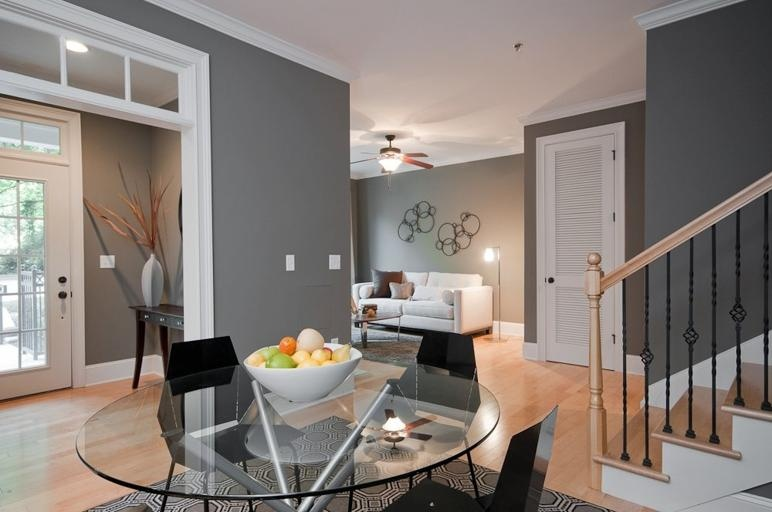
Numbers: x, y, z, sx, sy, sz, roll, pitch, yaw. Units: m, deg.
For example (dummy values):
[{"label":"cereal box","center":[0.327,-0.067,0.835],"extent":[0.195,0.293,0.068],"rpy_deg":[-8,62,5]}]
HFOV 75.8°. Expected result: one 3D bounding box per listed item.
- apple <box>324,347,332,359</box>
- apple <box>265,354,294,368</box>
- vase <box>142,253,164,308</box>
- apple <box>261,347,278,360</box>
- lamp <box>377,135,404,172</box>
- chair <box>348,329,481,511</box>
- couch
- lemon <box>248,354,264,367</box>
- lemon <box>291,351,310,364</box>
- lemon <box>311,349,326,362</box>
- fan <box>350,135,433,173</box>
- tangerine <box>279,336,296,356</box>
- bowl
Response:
[{"label":"apple","center":[-0.326,0.547,2.770],"extent":[0.049,0.057,0.049],"rpy_deg":[-2,-1,36]},{"label":"apple","center":[-0.573,0.571,2.673],"extent":[0.106,0.092,0.090],"rpy_deg":[4,13,-4]},{"label":"vase","center":[-2.588,0.260,5.498],"extent":[0.232,0.567,0.361],"rpy_deg":[-7,16,-25]},{"label":"apple","center":[-0.654,0.543,2.793],"extent":[0.067,0.068,0.068],"rpy_deg":[-24,6,0]},{"label":"lamp","center":[0.041,-1.449,7.052],"extent":[0.329,0.550,0.854],"rpy_deg":[0,14,-2]},{"label":"chair","center":[0.012,0.964,3.631],"extent":[0.790,1.252,0.863],"rpy_deg":[-1,-6,20]},{"label":"couch","center":[0.523,0.797,8.278],"extent":[2.175,0.979,0.919],"rpy_deg":[0,3,39]},{"label":"lemon","center":[-0.725,0.579,2.761],"extent":[0.065,0.062,0.063],"rpy_deg":[-2,4,-4]},{"label":"lemon","center":[-0.468,0.556,2.717],"extent":[0.070,0.037,0.069],"rpy_deg":[5,14,21]},{"label":"lemon","center":[-0.364,0.542,2.708],"extent":[0.066,0.063,0.060],"rpy_deg":[1,7,-9]},{"label":"fan","center":[0.070,-1.426,6.915],"extent":[1.253,0.490,1.169],"rpy_deg":[-3,5,-25]},{"label":"tangerine","center":[-0.559,0.515,2.870],"extent":[0.104,0.102,0.103],"rpy_deg":[3,1,-9]},{"label":"bowl","center":[-0.478,0.705,2.903],"extent":[0.705,0.232,0.697],"rpy_deg":[-2,-1,0]}]
